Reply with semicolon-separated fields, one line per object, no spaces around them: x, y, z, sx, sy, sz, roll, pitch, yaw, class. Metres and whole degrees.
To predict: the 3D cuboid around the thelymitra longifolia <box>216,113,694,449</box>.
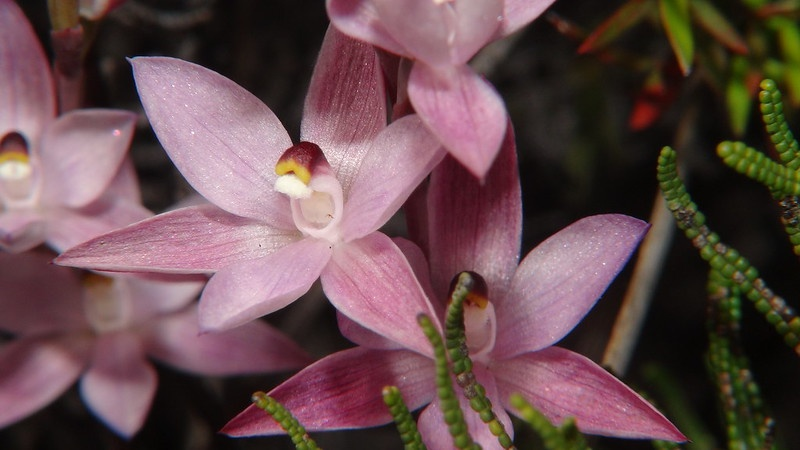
0.076;0.114;1.168;0.597;0.375;0.312;-2;37;-8;thelymitra longifolia
